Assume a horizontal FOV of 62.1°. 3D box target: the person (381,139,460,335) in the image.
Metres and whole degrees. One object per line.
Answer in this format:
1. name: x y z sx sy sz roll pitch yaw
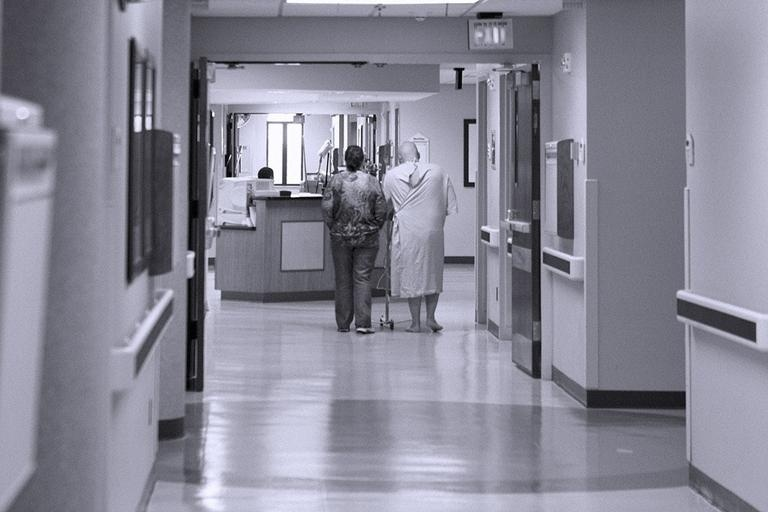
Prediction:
1. person: 0.421 -0.209 7.952 0.864 2.330 0.422 1 9 0

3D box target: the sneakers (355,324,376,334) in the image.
1. sneakers: -0.238 0.902 8.010 0.268 0.127 0.091 -5 4 -43

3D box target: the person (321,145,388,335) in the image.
1. person: -0.366 -0.045 7.912 0.797 1.991 0.305 0 9 -2
